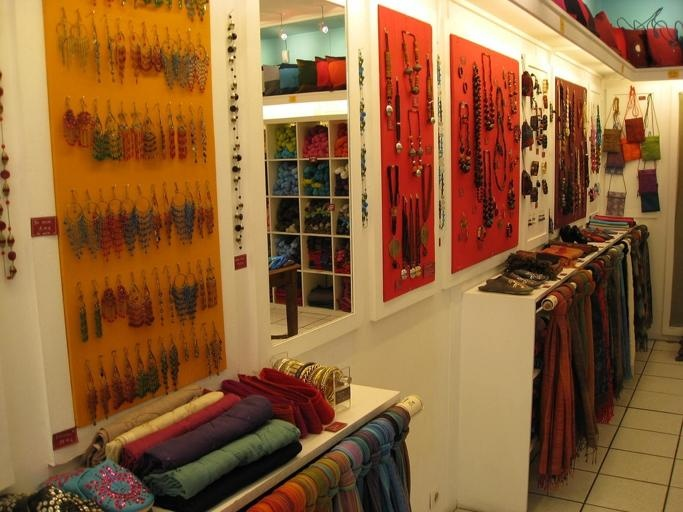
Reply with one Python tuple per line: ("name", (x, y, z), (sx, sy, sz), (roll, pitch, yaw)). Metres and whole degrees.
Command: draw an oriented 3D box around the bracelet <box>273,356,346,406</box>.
("bracelet", (-0.099, 0.449, 2.034), (0.225, 0.129, 0.150), (13, 17, 27))
